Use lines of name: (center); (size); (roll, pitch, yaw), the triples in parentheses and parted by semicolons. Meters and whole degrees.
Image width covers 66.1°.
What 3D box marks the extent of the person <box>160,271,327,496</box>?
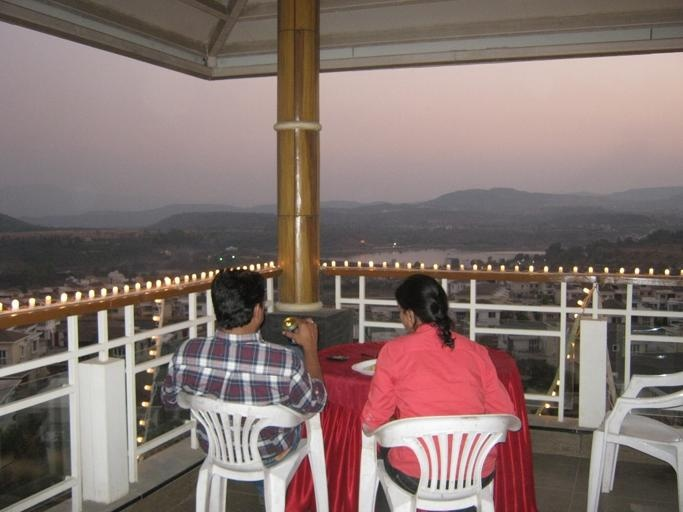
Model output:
person: (-0.500, 0.594, 2.642); (0.785, 1.096, 0.613); (-3, 14, -10)
